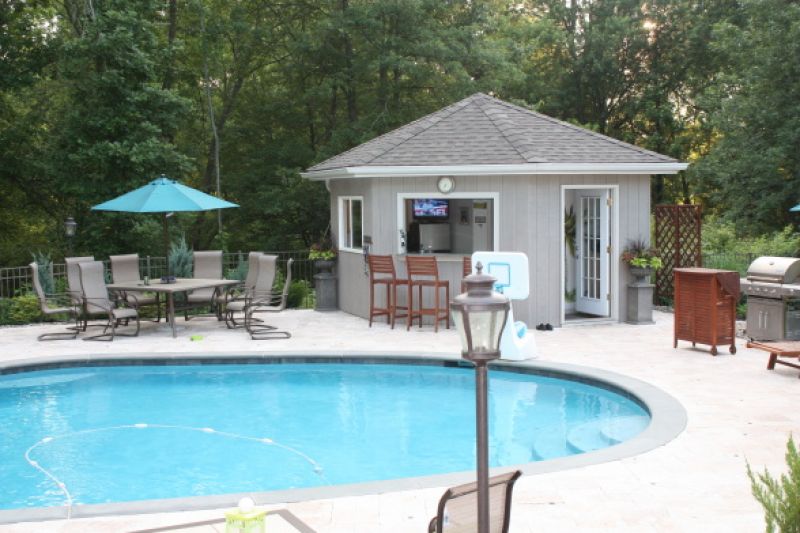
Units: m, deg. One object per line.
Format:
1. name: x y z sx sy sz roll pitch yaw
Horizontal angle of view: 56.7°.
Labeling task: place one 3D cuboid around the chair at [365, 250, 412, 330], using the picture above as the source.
1. chair: -0.309 0.538 17.260 0.927 1.666 1.412 -2 4 -3

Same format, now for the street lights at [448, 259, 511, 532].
1. street lights: 0.918 1.390 8.012 0.569 2.872 0.702 0 4 21

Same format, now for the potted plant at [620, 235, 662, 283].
1. potted plant: 5.713 -0.163 17.508 0.864 1.159 1.080 -1 2 8

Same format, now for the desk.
1. desk: 5.924 0.888 14.327 0.858 1.746 1.396 -4 6 -35

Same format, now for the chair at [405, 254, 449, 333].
1. chair: 0.637 0.579 16.864 0.978 1.694 1.336 -1 4 0

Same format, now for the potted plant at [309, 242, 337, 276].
1. potted plant: -2.089 -0.176 19.669 0.743 0.813 0.771 0 3 0
